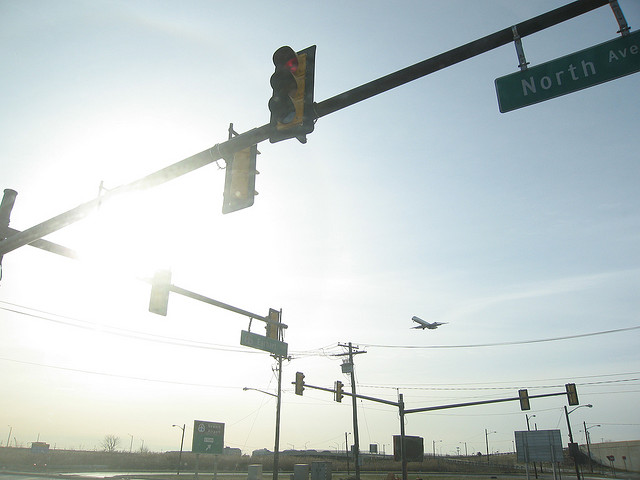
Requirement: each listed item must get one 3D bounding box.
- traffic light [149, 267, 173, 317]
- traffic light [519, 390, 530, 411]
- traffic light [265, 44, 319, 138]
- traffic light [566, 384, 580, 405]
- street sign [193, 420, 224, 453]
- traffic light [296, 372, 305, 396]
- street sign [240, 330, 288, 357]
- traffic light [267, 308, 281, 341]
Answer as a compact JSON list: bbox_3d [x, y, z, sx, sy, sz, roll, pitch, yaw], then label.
[{"bbox_3d":[-4.055,1.390,13.137,0.445,1.179,0.401,12,-27,-18],"label":"traffic light"},{"bbox_3d":[12.148,9.483,30.545,0.465,1.130,1.271,-5,-27,15],"label":"traffic light"},{"bbox_3d":[-0.553,-2.896,9.731,0.927,1.765,0.697,1,-5,11],"label":"traffic light"},{"bbox_3d":[14.645,8.998,29.788,0.425,1.061,0.374,-9,-28,22],"label":"traffic light"},{"bbox_3d":[-7.100,12.674,32.838,0.922,1.864,2.431,-8,-28,22],"label":"street sign"},{"bbox_3d":[-1.234,8.868,31.394,0.421,1.243,1.179,3,-26,-1],"label":"traffic light"},{"bbox_3d":[-2.004,3.898,19.353,0.398,0.698,2.562,-15,-32,32],"label":"street sign"},{"bbox_3d":[-1.813,3.342,20.144,0.544,0.150,1.485,10,-60,6],"label":"traffic light"}]
